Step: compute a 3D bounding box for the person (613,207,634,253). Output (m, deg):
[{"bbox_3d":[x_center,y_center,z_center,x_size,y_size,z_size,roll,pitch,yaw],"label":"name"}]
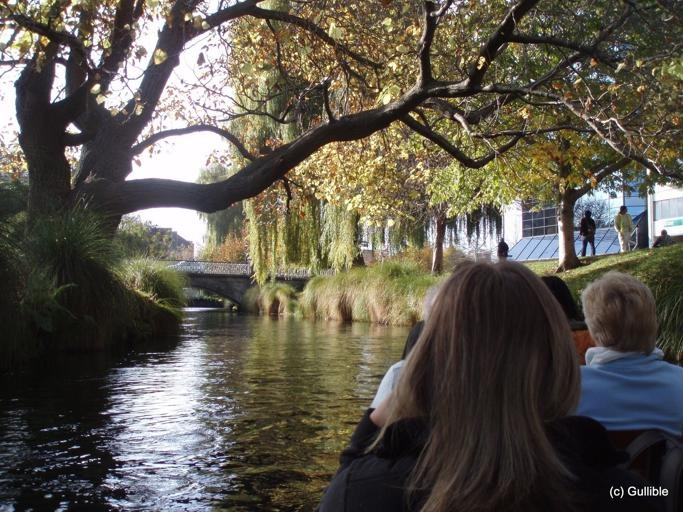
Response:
[{"bbox_3d":[9.754,-0.914,23.214,0.502,1.796,0.458,-3,21,18],"label":"person"}]
